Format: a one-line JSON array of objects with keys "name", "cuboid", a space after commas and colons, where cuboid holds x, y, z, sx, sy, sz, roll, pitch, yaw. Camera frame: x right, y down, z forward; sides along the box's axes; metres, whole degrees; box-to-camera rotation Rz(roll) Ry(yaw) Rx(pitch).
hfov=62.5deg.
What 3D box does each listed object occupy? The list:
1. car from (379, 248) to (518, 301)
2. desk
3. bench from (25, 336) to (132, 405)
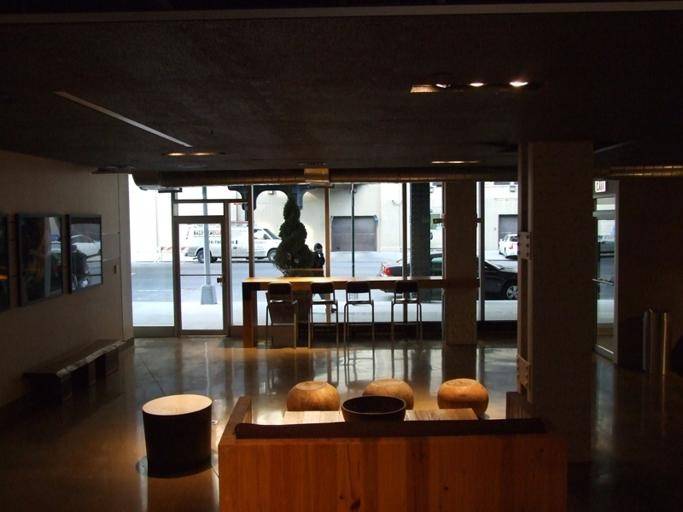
[{"name": "car", "cuboid": [2.032, 0.238, 10.644, 2.272, 0.857, 1.032, -3, 3, -1]}, {"name": "desk", "cuboid": [0.291, 0.891, 9.618, 3.956, 1.121, 0.794, -1, 7, -1]}, {"name": "bench", "cuboid": [-3.460, 1.500, 7.333, 0.438, 0.427, 1.366, 0, 7, 9]}]
